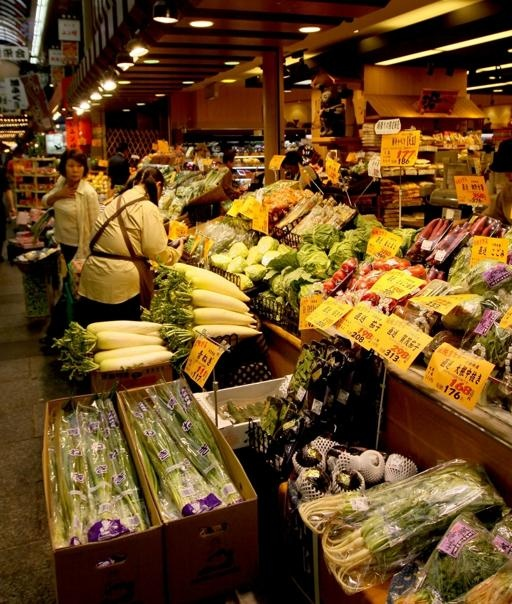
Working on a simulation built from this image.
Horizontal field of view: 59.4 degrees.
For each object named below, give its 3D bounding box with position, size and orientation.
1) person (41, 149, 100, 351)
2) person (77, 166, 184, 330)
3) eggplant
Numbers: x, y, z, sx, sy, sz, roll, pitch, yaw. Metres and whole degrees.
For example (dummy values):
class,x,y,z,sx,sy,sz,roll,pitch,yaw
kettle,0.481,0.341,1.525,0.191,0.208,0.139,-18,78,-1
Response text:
class,x,y,z,sx,sy,sz,roll,pitch,yaw
person,-1.893,-0.575,5.115,0.819,2.312,0.824,-4,9,-25
person,-0.867,-0.321,3.177,0.605,1.195,0.606,-15,25,-37
eggplant,0.202,0.492,1.345,0.137,0.083,0.171,-2,5,-4
